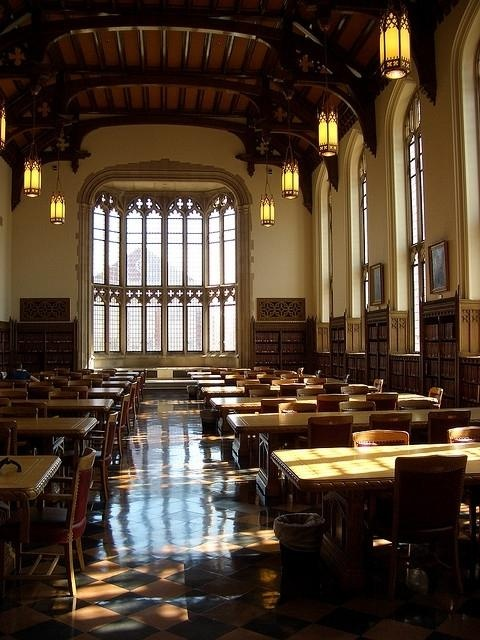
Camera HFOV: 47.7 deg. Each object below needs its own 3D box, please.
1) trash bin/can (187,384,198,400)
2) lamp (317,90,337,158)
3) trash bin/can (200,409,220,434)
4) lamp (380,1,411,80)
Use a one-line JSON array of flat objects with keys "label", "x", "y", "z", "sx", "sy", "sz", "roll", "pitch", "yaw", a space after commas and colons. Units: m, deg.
[{"label": "trash bin/can", "x": -1.442, "y": 2.229, "z": 16.746, "sx": 0.398, "sy": 0.491, "sz": 0.349, "roll": 1, "pitch": -7, "yaw": -10}, {"label": "lamp", "x": 1.351, "y": -2.954, "z": 8.284, "sx": 0.278, "sy": 0.890, "sz": 0.432, "roll": -2, "pitch": -3, "yaw": 7}, {"label": "trash bin/can", "x": -0.564, "y": 1.917, "z": 10.373, "sx": 0.344, "sy": 0.385, "sz": 0.341, "roll": 0, "pitch": -5, "yaw": -4}, {"label": "lamp", "x": 1.636, "y": -2.981, "z": 5.707, "sx": 0.298, "sy": 0.888, "sz": 0.400, "roll": -3, "pitch": -3, "yaw": 16}]
